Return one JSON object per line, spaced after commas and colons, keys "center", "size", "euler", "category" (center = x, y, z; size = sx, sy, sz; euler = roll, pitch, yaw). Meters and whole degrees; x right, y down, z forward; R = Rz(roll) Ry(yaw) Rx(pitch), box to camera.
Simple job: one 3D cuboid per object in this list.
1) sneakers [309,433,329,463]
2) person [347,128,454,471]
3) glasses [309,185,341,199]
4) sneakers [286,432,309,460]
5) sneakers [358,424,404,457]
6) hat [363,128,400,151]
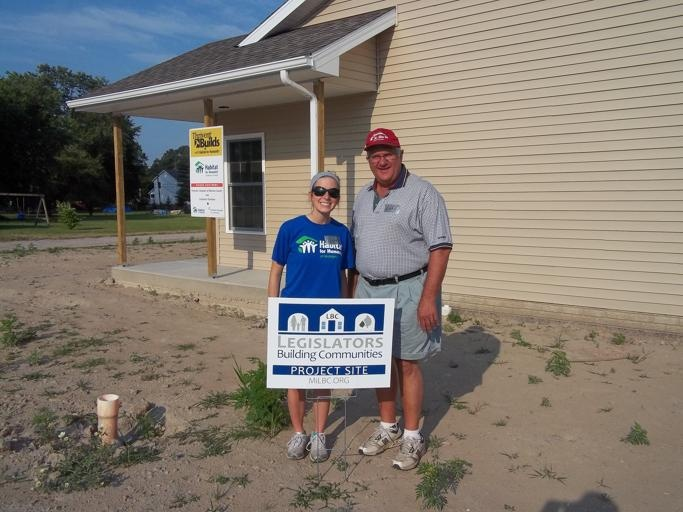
{"center": [-0.202, 1.706, 4.514], "size": [0.138, 0.112, 0.293], "euler": [1, -2, -11], "category": "sneakers"}
{"center": [0.487, 0.385, 4.358], "size": [0.873, 2.907, 0.431], "euler": [4, 8, 18], "category": "person"}
{"center": [-0.142, -0.552, 4.362], "size": [0.238, 0.115, 0.097], "euler": [1, 8, -4], "category": "glasses"}
{"center": [-0.403, 1.694, 4.492], "size": [0.134, 0.116, 0.269], "euler": [0, -1, 4], "category": "sneakers"}
{"center": [0.372, 1.657, 4.651], "size": [0.448, 0.191, 0.186], "euler": [-10, 13, -37], "category": "sneakers"}
{"center": [0.344, -0.991, 4.273], "size": [0.294, 0.193, 0.234], "euler": [6, 9, 29], "category": "hat"}
